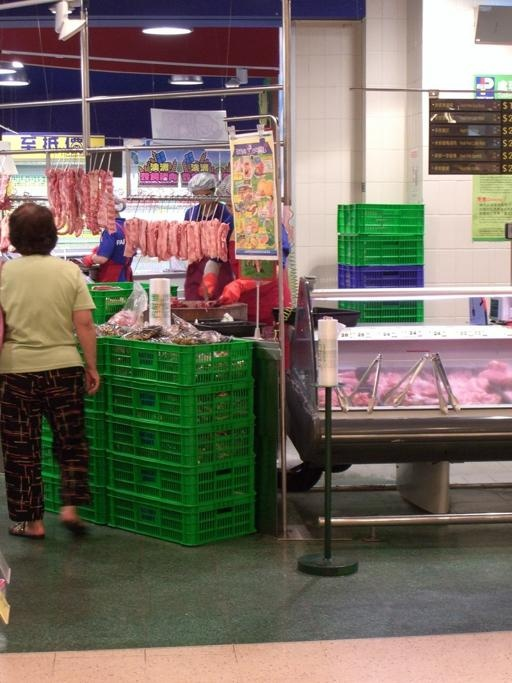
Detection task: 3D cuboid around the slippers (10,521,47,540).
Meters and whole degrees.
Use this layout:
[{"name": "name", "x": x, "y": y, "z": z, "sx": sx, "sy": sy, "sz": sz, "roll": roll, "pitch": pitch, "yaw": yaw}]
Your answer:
[{"name": "slippers", "x": -1.125, "y": 0.931, "z": 3.362, "sx": 0.178, "sy": 0.091, "sz": 0.084, "roll": 7, "pitch": 3, "yaw": 30}]

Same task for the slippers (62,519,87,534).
[{"name": "slippers", "x": -0.895, "y": 0.907, "z": 3.310, "sx": 0.120, "sy": 0.050, "sz": 0.160, "roll": -4, "pitch": -7, "yaw": 6}]

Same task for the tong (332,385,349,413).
[{"name": "tong", "x": 0.412, "y": 0.287, "z": 3.221, "sx": 0.046, "sy": 0.161, "sz": 0.045, "roll": -36, "pitch": -52, "yaw": 28}]

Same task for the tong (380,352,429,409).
[{"name": "tong", "x": 0.747, "y": 0.193, "z": 3.316, "sx": 0.298, "sy": 0.251, "sz": 0.141, "roll": 0, "pitch": -2, "yaw": -12}]

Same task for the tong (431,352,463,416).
[{"name": "tong", "x": 0.933, "y": 0.206, "z": 3.327, "sx": 0.136, "sy": 0.283, "sz": 0.217, "roll": -1, "pitch": -2, "yaw": 7}]

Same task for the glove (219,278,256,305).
[{"name": "glove", "x": -0.129, "y": -0.324, "z": 4.537, "sx": 0.245, "sy": 0.200, "sz": 0.648, "roll": 0, "pitch": -2, "yaw": -1}]

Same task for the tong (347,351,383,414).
[{"name": "tong", "x": 0.547, "y": 0.204, "z": 3.343, "sx": 0.147, "sy": 0.282, "sz": 0.313, "roll": -1, "pitch": -2, "yaw": 15}]

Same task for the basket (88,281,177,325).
[{"name": "basket", "x": -0.790, "y": -0.267, "z": 4.324, "sx": 0.541, "sy": 0.149, "sz": 0.313, "roll": -3, "pitch": 8, "yaw": -19}]

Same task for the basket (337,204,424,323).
[{"name": "basket", "x": 1.527, "y": -0.966, "z": 8.130, "sx": 1.054, "sy": 1.497, "sz": 0.685, "roll": -1, "pitch": -2, "yaw": 6}]
